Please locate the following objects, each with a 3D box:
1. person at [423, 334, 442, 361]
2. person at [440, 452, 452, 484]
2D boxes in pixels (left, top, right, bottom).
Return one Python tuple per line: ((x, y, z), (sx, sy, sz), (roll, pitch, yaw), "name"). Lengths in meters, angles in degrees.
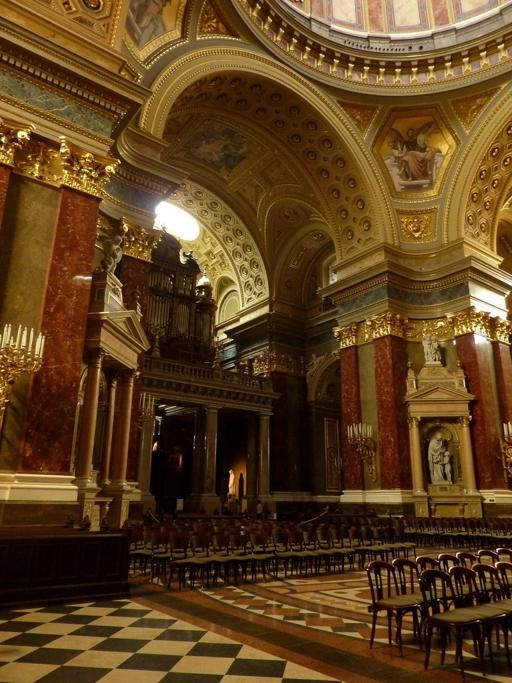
((5.032, 0.226, 14.932), (0.394, 0.928, 0.296), (-3, -19, 9), "person")
((5.070, 3.293, 13.684), (0.298, 0.858, 0.156), (5, -19, -12), "person")
